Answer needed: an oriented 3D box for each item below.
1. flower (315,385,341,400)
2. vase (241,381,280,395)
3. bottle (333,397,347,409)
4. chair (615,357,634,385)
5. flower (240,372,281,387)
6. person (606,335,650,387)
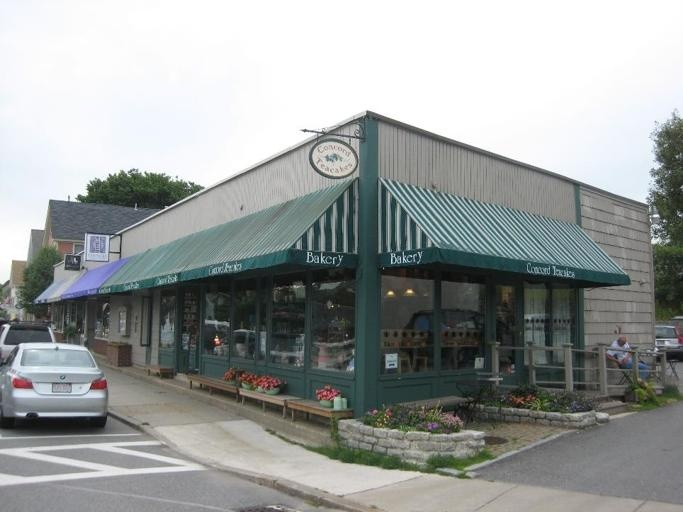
[{"bbox_3d":[-0.324,3.071,14.795,0.401,0.246,0.422,3,-4,-10],"label":"flower"},{"bbox_3d":[-2.032,3.343,16.892,0.387,0.330,1.452,-1,0,-40],"label":"vase"},{"bbox_3d":[-0.023,3.227,14.530,0.243,0.245,0.252,-4,-7,41],"label":"bottle"},{"bbox_3d":[8.125,3.404,18.981,0.415,0.711,1.654,0,0,23],"label":"chair"},{"bbox_3d":[-2.104,3.193,16.843,0.689,0.255,0.535,4,-2,-31],"label":"flower"},{"bbox_3d":[8.458,3.054,19.345,0.568,1.507,0.816,-1,-12,-45],"label":"person"}]
